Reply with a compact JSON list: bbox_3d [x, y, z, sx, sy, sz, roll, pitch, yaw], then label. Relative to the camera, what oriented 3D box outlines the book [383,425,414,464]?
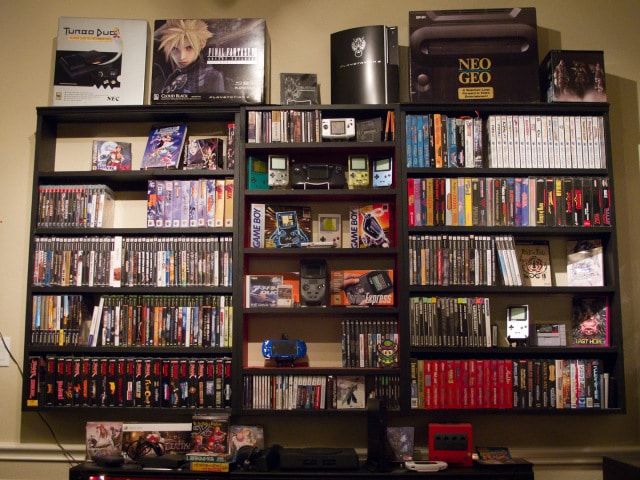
[{"bbox_3d":[0.480,1.270,4.442,0.253,0.264,0.088,0,-7,8],"label":"book"}]

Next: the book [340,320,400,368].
[{"bbox_3d":[0.321,0.660,4.524,0.292,0.244,0.106,0,-7,0],"label":"book"}]
